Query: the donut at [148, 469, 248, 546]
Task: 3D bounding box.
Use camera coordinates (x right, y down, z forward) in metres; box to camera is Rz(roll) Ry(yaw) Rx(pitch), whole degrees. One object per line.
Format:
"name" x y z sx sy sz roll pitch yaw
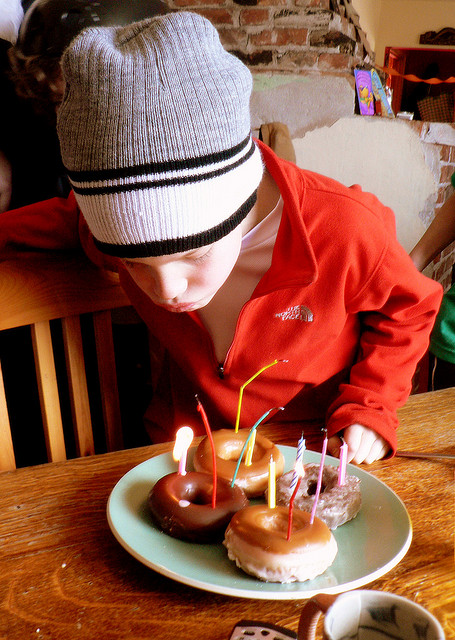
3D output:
"donut" -0.032 0.221 0.626 0.121 0.045 0.120 3 12 -16

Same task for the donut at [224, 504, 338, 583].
"donut" 0.056 0.236 0.573 0.132 0.046 0.121 6 4 -5

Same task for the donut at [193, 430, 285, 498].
"donut" 0.018 0.195 0.727 0.129 0.049 0.123 0 15 -3

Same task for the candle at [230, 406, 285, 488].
"candle" 0.024 0.177 0.693 0.080 0.022 0.080 1 30 31

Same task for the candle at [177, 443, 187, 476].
"candle" -0.056 0.172 0.650 0.011 0.036 0.024 0 21 -2

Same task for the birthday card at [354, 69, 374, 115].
"birthday card" 0.622 -1.048 2.440 0.016 0.205 0.191 1 41 32
